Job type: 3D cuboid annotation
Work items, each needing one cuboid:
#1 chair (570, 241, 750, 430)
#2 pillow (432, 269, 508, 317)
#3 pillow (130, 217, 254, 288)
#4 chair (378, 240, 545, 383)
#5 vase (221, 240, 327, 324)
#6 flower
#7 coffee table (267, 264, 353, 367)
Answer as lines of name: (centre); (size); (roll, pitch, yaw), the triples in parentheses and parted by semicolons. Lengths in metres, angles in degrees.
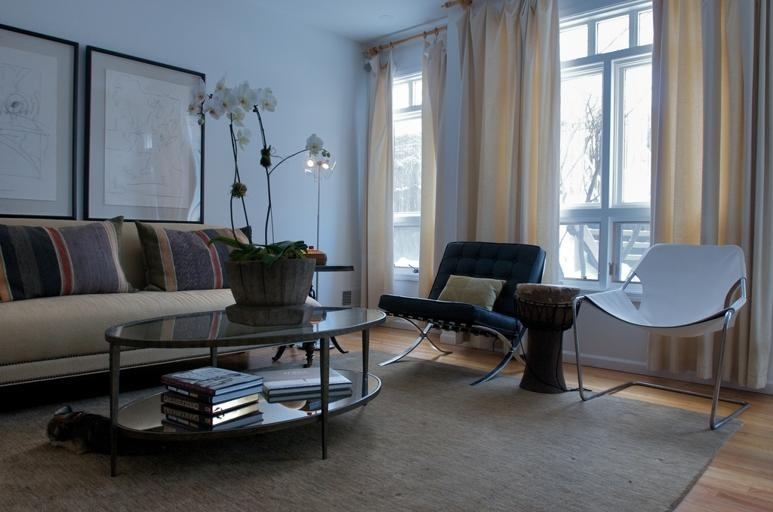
chair: (1.907, 0.615, 4.183); (1.344, 1.561, 1.137); (1, -1, 44)
pillow: (0.676, 0.288, 4.541); (0.449, 0.217, 0.344); (9, 14, 34)
pillow: (-1.503, -0.013, 4.272); (0.560, 0.363, 0.192); (3, -15, -39)
chair: (0.589, 0.376, 4.603); (1.070, 1.010, 1.206); (-2, 4, -29)
vase: (-0.663, 0.131, 3.202); (0.504, 0.427, 0.449); (-1, 0, -17)
flower: (-0.767, -0.530, 3.453); (0.885, 1.094, 0.561); (1, -3, -9)
coffee table: (-0.700, 0.467, 5.232); (0.738, 0.815, 0.758); (3, -3, 43)
